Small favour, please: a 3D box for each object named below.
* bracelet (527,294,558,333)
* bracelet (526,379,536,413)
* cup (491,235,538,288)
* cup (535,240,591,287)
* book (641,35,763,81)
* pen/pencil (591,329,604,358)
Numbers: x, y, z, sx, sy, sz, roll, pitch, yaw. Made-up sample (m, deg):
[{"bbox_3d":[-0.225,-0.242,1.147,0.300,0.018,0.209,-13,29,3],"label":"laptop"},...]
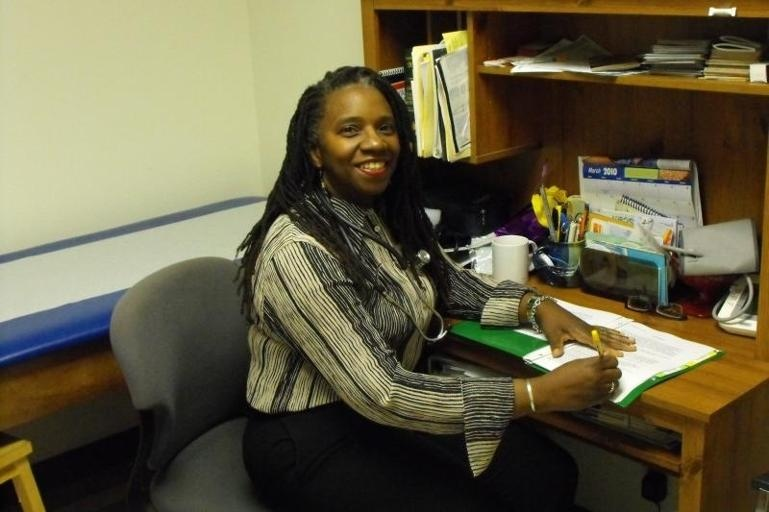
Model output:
[{"bbox_3d":[0.453,0.158,1.628,0.090,0.093,0.035,-1,8,-4],"label":"bracelet"},{"bbox_3d":[0.343,0.328,1.360,0.015,0.055,0.058,-7,-7,0],"label":"bracelet"},{"bbox_3d":[0.424,0.016,1.914,0.178,0.148,0.108,-10,17,-36],"label":"cup"},{"bbox_3d":[0.580,0.020,1.888,0.166,0.140,0.123,2,11,21],"label":"cup"},{"bbox_3d":[0.844,-0.522,1.533,0.295,0.107,0.195,5,21,21],"label":"book"},{"bbox_3d":[0.535,0.221,1.460,0.023,0.085,0.019,-40,54,1],"label":"pen/pencil"}]
